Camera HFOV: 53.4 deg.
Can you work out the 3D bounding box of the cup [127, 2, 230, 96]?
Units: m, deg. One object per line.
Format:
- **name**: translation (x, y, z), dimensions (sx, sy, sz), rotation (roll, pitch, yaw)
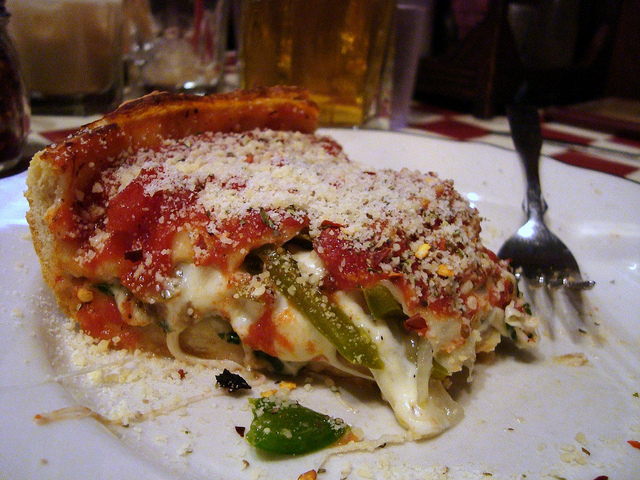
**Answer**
- **cup**: translation (-0.782, -1.084, 3.539), dimensions (0.567, 0.454, 0.403), rotation (-7, 39, -13)
